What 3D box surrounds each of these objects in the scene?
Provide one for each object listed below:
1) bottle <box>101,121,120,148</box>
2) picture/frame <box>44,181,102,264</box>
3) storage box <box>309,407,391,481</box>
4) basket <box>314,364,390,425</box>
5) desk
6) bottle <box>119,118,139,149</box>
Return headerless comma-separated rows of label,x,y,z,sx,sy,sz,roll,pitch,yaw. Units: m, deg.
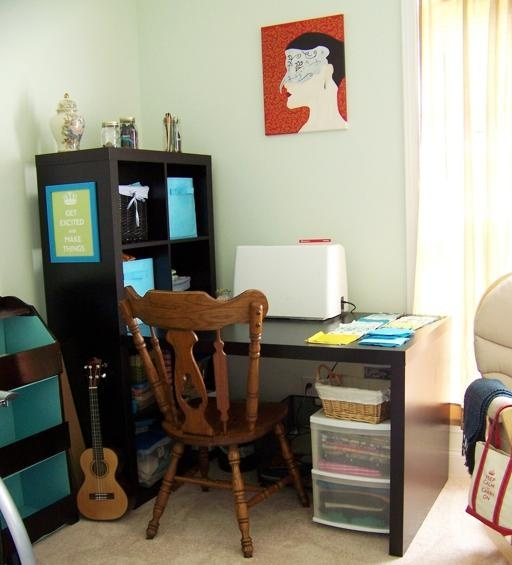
bottle,-0.658,-0.673,2.257,0.080,0.121,0.122,-3,4,-18
picture/frame,-0.751,-0.262,2.064,0.347,0.422,0.031,1,8,22
storage box,0.338,0.513,1.793,0.327,0.211,0.199,-1,0,32
basket,0.348,0.398,1.887,0.288,0.199,0.192,1,1,29
desk,0.201,0.426,1.999,0.988,0.912,0.761,1,15,27
bottle,-0.580,-0.694,2.312,0.064,0.142,0.130,0,4,21
